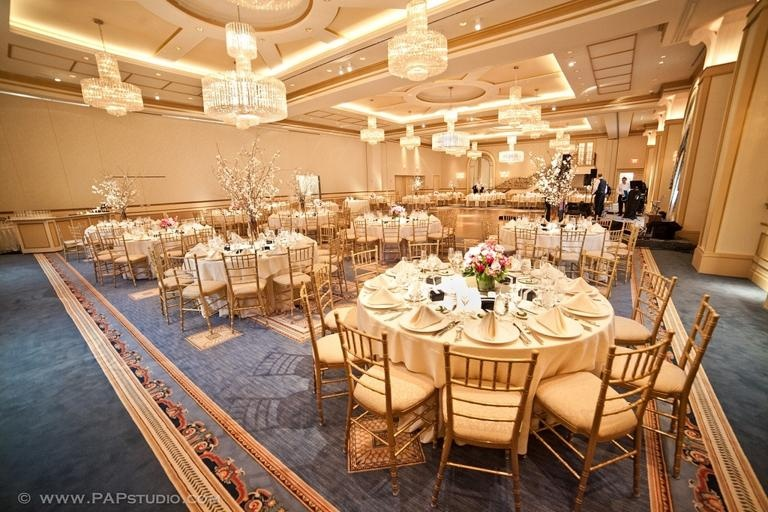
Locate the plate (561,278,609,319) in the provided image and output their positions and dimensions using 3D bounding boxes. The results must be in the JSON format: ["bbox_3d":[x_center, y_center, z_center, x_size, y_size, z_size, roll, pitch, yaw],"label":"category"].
[{"bbox_3d":[2.547,0.598,5.242,0.558,0.190,0.539,-4,17,2],"label":"plate"}]
